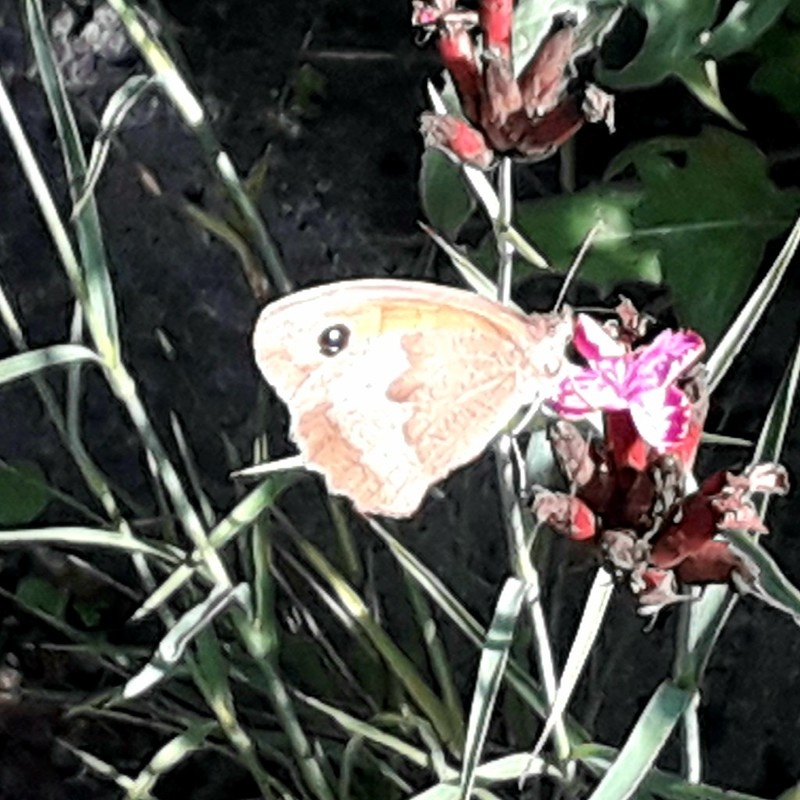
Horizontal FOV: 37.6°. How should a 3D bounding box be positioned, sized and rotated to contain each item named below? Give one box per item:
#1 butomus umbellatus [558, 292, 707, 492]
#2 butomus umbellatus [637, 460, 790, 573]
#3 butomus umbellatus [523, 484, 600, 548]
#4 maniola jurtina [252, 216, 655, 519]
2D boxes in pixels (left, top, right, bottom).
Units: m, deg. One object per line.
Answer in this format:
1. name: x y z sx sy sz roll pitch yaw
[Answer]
1. butomus umbellatus: 0.105 -0.005 0.530 0.056 0.060 0.085 -58 154 -62
2. butomus umbellatus: 0.139 0.050 0.530 0.023 0.057 0.043 -19 77 -46
3. butomus umbellatus: 0.076 0.053 0.536 0.033 0.015 0.020 20 93 -37
4. maniola jurtina: 0.014 -0.038 0.583 0.127 0.127 0.099 -94 164 -73
